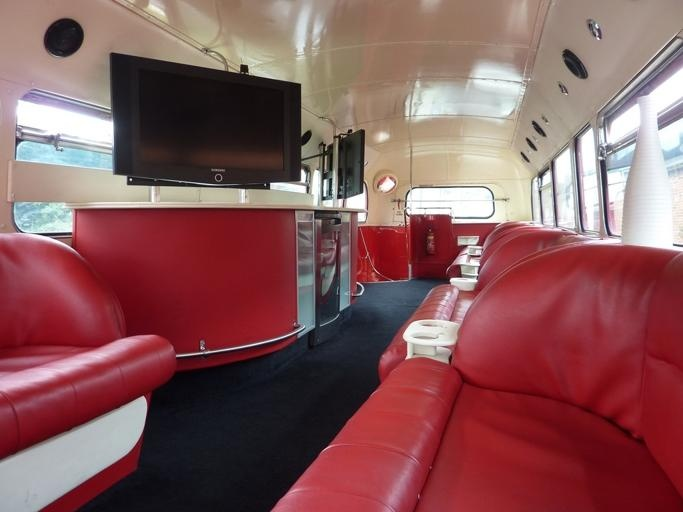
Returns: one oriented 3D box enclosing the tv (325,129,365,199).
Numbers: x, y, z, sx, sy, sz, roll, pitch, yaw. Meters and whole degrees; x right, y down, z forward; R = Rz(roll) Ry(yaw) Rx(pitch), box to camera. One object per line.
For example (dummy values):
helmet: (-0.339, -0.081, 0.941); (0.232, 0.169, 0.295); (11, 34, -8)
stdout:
tv: (-0.011, -1.131, 6.035); (0.202, 0.894, 0.871); (4, -4, -34)

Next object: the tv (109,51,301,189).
tv: (-1.043, -0.991, 3.405); (1.089, 0.736, 0.144); (0, 0, -30)
